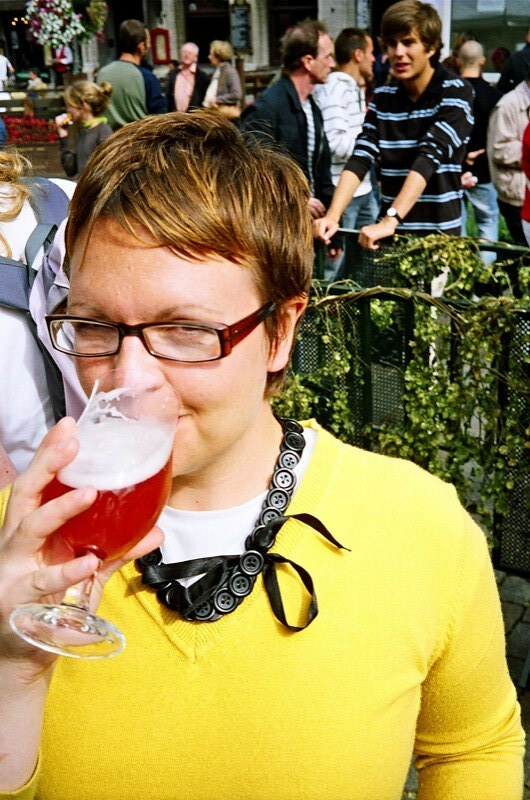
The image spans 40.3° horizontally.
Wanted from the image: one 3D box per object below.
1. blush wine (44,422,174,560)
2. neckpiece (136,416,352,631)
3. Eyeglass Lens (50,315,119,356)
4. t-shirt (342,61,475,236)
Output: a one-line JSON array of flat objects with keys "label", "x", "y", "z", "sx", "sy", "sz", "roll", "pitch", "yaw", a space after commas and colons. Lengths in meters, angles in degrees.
[{"label": "blush wine", "x": -0.210, "y": 0.121, "z": 0.966, "sx": 0.136, "sy": 0.183, "sz": 0.146, "roll": 11, "pitch": 20, "yaw": 32}, {"label": "neckpiece", "x": -0.061, "y": 0.228, "z": 1.204, "sx": 0.307, "sy": 0.099, "sz": 0.383, "roll": -16, "pitch": 28, "yaw": 5}, {"label": "Eyeglass Lens", "x": -0.271, "y": -0.099, "z": 1.095, "sx": 0.123, "sy": 0.036, "sz": 0.123, "roll": 8, "pitch": 10, "yaw": 19}, {"label": "t-shirt", "x": 1.066, "y": -2.104, "z": 5.644, "sx": 1.058, "sy": 0.794, "sz": 1.388, "roll": 4, "pitch": 25, "yaw": 10}]
